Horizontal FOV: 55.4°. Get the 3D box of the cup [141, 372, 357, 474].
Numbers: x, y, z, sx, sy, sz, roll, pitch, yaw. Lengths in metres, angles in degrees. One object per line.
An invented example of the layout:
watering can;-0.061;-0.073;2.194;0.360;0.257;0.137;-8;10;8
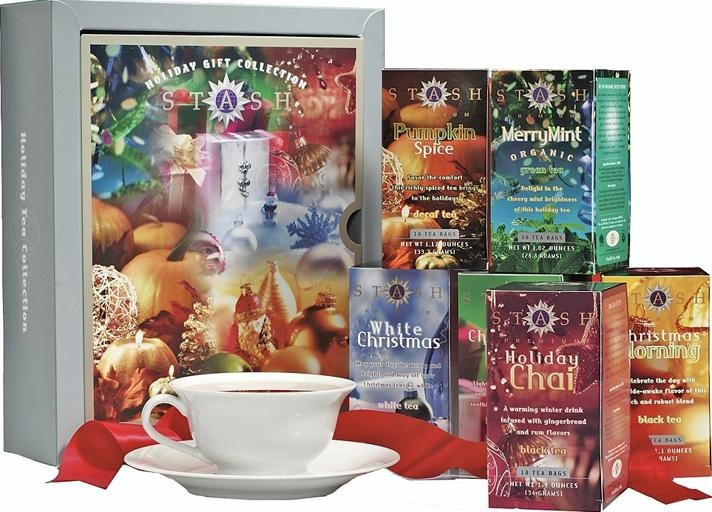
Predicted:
cup;-0.236;0.396;1.635;0.417;0.216;0.340;4;4;29
